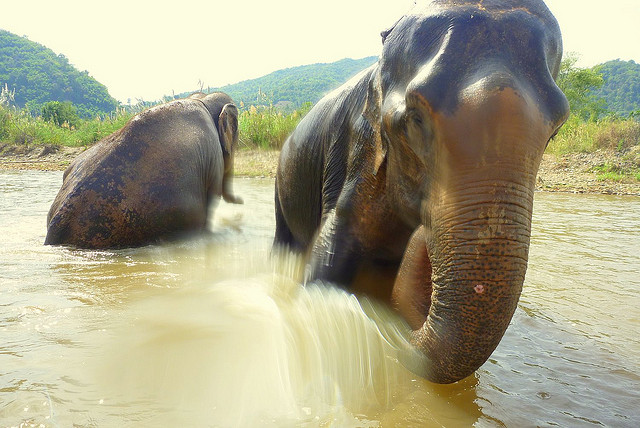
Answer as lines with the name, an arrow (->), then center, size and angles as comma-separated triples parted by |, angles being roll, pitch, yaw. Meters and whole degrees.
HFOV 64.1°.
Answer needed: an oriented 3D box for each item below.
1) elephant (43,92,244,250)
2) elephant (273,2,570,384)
elephant -> -1.919, -0.701, 5.913 | 1.728, 1.628, 3.231 | 3, 9, 5
elephant -> 0.614, -0.165, 3.663 | 0.950, 1.956, 3.017 | 2, -2, -11
